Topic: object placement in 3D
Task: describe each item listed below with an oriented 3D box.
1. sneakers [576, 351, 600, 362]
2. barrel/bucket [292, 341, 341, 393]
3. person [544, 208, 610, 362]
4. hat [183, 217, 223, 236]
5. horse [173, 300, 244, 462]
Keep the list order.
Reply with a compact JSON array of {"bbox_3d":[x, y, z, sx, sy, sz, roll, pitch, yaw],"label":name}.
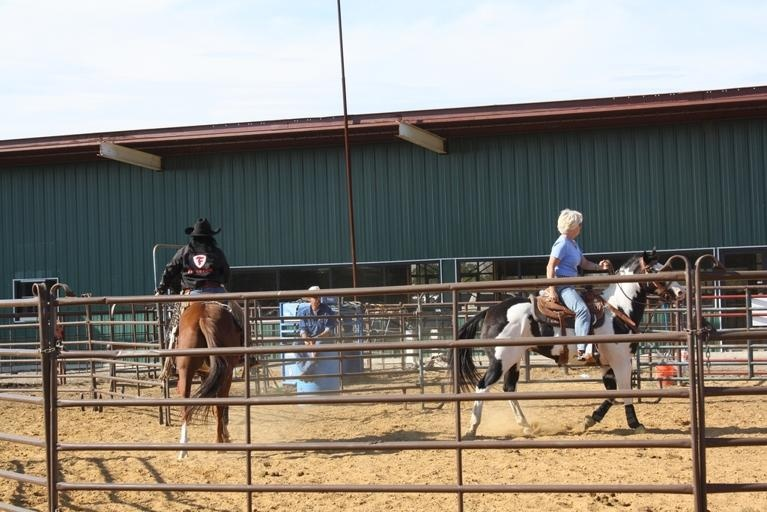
[{"bbox_3d":[3.567,1.790,22.055,0.471,0.151,0.193,3,13,16],"label":"sneakers"},{"bbox_3d":[-1.302,2.208,24.937,0.902,1.012,1.672,-2,-1,-4],"label":"barrel/bucket"},{"bbox_3d":[3.383,0.530,22.150,1.000,1.936,1.151,-2,-1,7],"label":"person"},{"bbox_3d":[-3.295,-0.471,22.966,0.637,0.264,0.715,1,4,0],"label":"hat"},{"bbox_3d":[-3.005,2.113,21.757,1.148,2.667,2.403,-2,-1,-8],"label":"horse"}]
